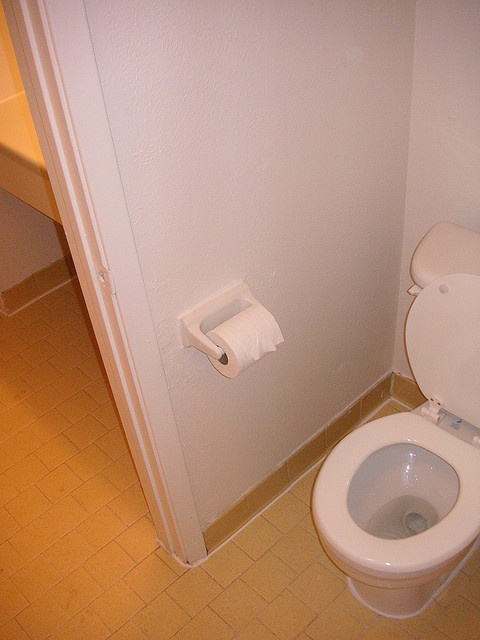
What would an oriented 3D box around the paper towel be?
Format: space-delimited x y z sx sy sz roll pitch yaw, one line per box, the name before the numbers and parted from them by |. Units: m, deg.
paper towel | 0.002 0.045 1.101 0.142 0.128 0.142 -35 50 -28
